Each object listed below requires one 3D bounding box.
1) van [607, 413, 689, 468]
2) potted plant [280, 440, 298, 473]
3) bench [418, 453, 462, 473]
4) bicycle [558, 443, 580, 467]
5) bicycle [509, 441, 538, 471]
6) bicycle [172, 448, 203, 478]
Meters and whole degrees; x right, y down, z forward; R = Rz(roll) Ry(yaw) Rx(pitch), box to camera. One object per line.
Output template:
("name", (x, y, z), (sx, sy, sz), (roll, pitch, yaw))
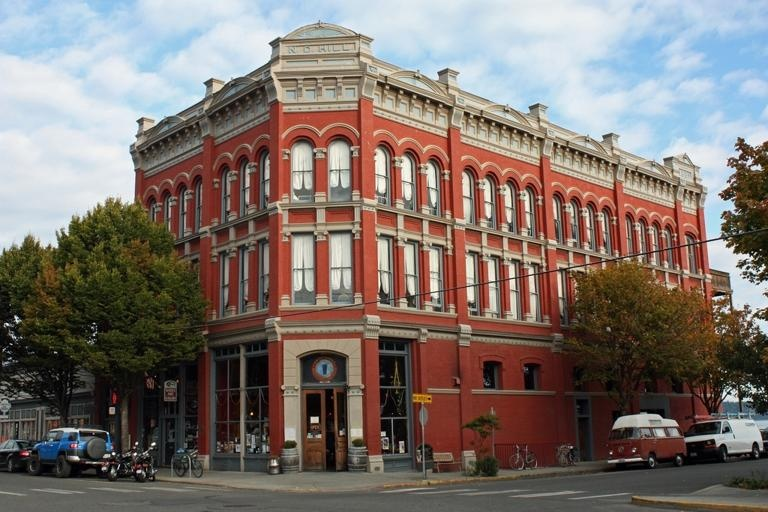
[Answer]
("van", (14.877, 10.637, 50.982), (6.131, 2.863, 2.351), (4, -8, -35))
("potted plant", (-4.928, 10.562, 47.071), (1.022, 1.714, 0.400), (4, -3, -5))
("bench", (3.163, 11.357, 49.366), (0.824, 0.946, 2.154), (2, -4, 36))
("bicycle", (11.044, 11.905, 53.686), (1.597, 1.168, 0.822), (7, -4, -43))
("bicycle", (8.013, 11.586, 51.596), (1.448, 1.259, 3.195), (3, -3, 16))
("bicycle", (-10.586, 11.189, 48.299), (1.468, 1.024, 2.583), (5, -4, -16))
